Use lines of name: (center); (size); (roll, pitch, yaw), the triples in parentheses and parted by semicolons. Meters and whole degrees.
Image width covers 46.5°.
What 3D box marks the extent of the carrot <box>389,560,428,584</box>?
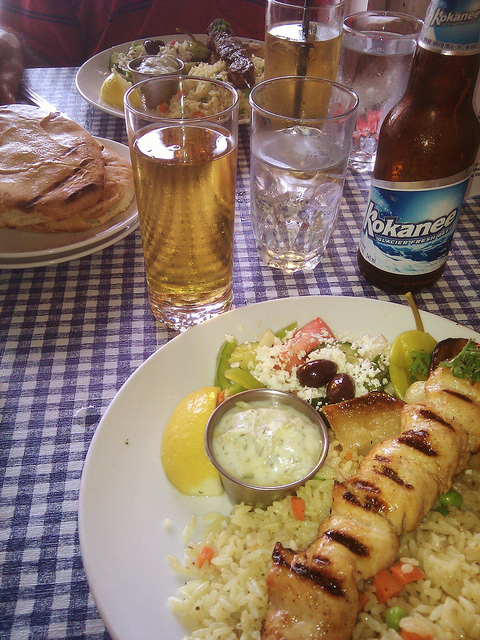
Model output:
carrot: (0.308, 0.444, 1.013); (0.052, 0.013, 0.047); (4, 19, -37)

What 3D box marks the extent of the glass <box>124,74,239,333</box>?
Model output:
glass: (-0.123, -0.267, 1.383); (0.248, 0.564, 0.380); (-6, 46, -7)

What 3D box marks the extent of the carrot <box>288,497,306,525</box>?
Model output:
carrot: (0.118, 0.379, 1.115); (0.029, 0.029, 0.041); (2, 45, 1)

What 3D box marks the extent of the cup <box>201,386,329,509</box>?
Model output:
cup: (0.052, 0.262, 1.177); (0.254, 0.134, 0.254); (1, 45, -1)

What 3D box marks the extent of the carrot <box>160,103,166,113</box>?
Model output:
carrot: (-0.199, -0.551, 1.452); (0.017, 0.016, 0.021); (-1, 5, 1)

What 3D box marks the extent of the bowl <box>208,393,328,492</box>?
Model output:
bowl: (0.059, 0.254, 1.155); (0.252, 0.077, 0.240); (0, 46, 1)

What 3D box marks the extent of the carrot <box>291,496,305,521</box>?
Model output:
carrot: (0.116, 0.378, 1.116); (0.026, 0.029, 0.042); (1, 45, 0)

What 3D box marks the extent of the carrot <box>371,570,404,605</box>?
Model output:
carrot: (0.263, 0.481, 1.006); (0.053, 0.033, 0.047); (-23, 50, -23)

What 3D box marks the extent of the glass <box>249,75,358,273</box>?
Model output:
glass: (0.162, -0.417, 1.610); (0.268, 0.495, 0.313); (-9, 47, -9)

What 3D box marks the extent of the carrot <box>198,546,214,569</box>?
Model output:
carrot: (-0.062, 0.429, 1.001); (0.021, 0.011, 0.033); (10, 64, -7)
